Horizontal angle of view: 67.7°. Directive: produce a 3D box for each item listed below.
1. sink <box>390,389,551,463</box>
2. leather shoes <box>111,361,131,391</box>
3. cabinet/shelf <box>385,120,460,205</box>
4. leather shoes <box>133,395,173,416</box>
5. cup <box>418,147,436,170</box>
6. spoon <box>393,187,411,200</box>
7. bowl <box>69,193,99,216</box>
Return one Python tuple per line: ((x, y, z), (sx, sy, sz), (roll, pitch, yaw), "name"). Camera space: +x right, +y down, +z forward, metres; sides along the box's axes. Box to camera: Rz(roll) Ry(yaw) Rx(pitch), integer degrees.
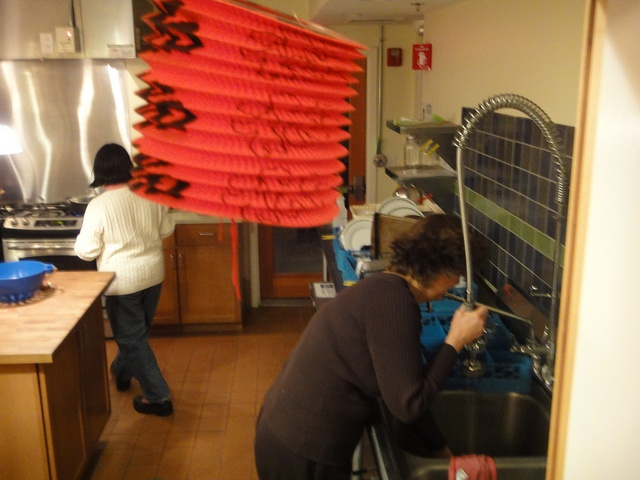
((0.550, 0.711, 1.722), (0.456, 0.203, 0.316), (0, 13, 0), "sink")
((-1.490, 1.046, 3.580), (0.095, 0.121, 0.291), (-3, 44, -23), "leather shoes")
((0.742, -0.536, 3.427), (0.493, 0.617, 0.898), (1, 11, 9), "cabinet/shelf")
((-1.145, 1.168, 3.356), (0.279, 0.134, 0.116), (11, 11, 6), "leather shoes")
((0.839, -0.655, 3.708), (0.152, 0.159, 0.156), (-2, 24, 1), "cup")
((0.623, -0.353, 3.535), (0.123, 0.065, 0.178), (5, 30, 6), "spoon")
((-2.219, -0.343, 4.476), (0.304, 0.185, 0.370), (-7, 17, -19), "bowl")
